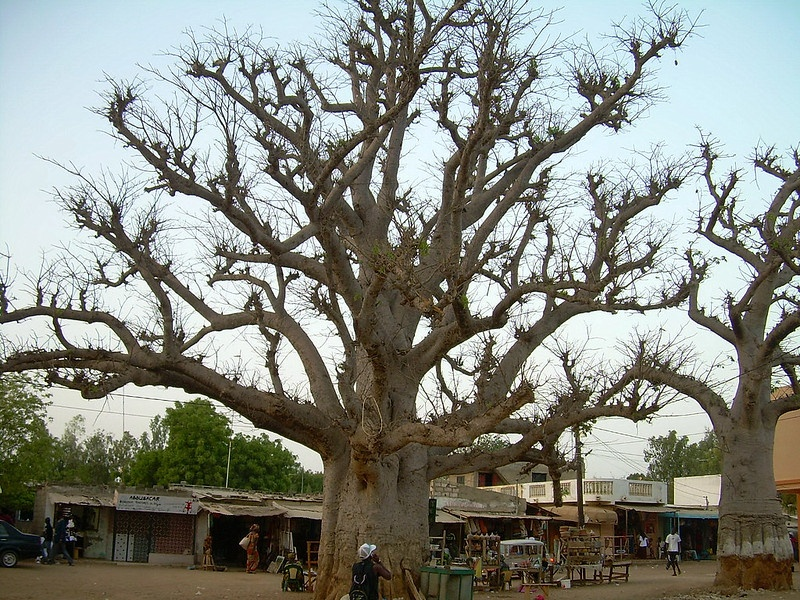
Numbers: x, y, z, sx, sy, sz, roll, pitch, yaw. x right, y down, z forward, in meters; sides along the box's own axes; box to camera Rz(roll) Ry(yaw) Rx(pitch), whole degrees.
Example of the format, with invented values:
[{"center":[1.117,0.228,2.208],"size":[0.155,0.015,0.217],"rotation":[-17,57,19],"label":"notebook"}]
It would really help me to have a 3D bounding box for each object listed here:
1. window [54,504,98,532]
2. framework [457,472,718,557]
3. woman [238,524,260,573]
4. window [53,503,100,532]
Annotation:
[{"center":[-12.700,8.454,26.563],"size":[1.971,1.313,1.005],"rotation":[11,-17,-35],"label":"window"},{"center":[9.051,10.640,33.594],"size":[12.413,3.247,12.447],"rotation":[6,-16,-20],"label":"framework"},{"center":[-5.735,9.375,25.821],"size":[0.807,1.761,0.564],"rotation":[7,-16,-11],"label":"woman"},{"center":[-12.714,8.468,26.646],"size":[2.049,1.383,1.036],"rotation":[7,-13,-34],"label":"window"}]
